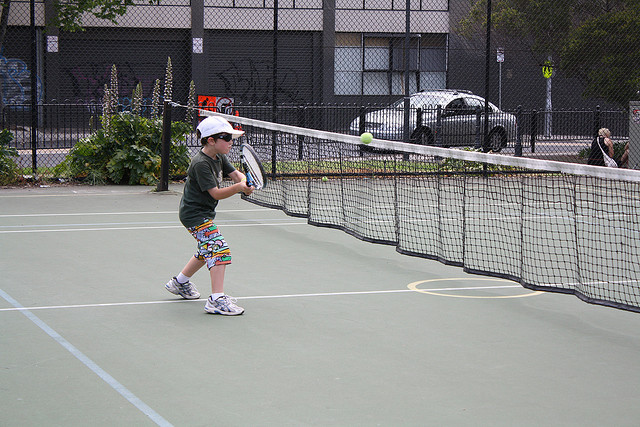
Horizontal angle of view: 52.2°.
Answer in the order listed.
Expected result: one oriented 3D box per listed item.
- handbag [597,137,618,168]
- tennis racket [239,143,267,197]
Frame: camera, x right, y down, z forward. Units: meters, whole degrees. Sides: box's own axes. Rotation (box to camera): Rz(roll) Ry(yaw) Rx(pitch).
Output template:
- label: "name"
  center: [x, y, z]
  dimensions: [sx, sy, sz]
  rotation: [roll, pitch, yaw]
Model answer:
- label: "handbag"
  center: [6.900, -1.409, 15.781]
  dimensions: [0.435, 0.560, 1.068]
  rotation: [6, 14, 22]
- label: "tennis racket"
  center: [-0.748, -0.480, 7.348]
  dimensions: [0.261, 0.564, 0.614]
  rotation: [-1, 13, -5]
